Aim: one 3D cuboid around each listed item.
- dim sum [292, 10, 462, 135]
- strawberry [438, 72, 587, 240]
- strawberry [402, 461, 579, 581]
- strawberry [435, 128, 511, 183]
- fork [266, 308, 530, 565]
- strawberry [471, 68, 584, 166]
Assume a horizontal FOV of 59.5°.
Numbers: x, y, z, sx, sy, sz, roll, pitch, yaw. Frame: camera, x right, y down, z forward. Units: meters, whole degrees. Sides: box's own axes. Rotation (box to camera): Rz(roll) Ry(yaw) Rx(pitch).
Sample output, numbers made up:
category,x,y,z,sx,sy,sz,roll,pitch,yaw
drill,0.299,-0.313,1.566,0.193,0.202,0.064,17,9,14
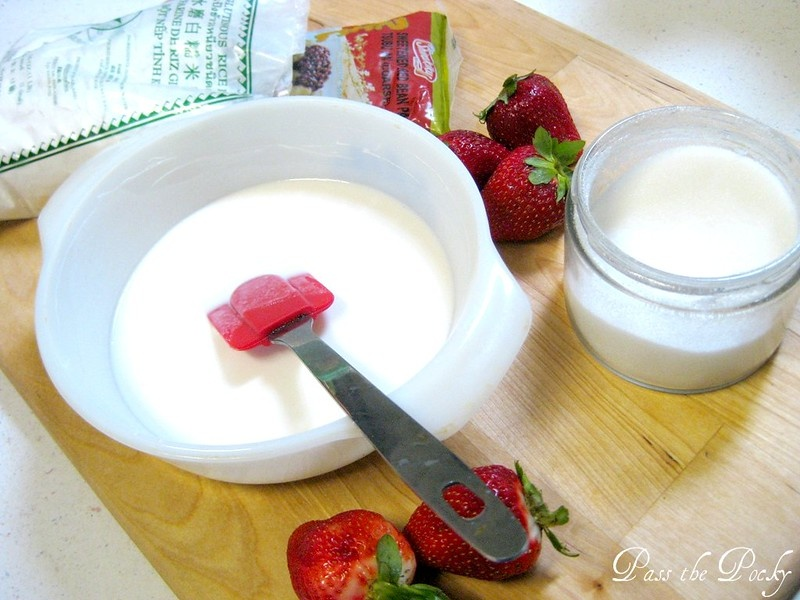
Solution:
category,x,y,z,sx,sy,sz,roll,pitch,yaw
dim sum,-0.023,-0.350,1.019,0.270,0.046,0.161,3,78,12
strawberry,0.176,-0.205,0.882,0.181,0.211,0.103,-14,6,43
strawberry,0.094,0.191,0.722,0.180,0.125,0.123,-19,78,16
strawberry,0.099,-0.191,0.894,0.083,0.062,0.061,21,20,7
fork,-0.024,0.098,0.656,0.086,0.009,0.422,-33,44,-13
strawberry,0.161,-0.237,0.942,0.124,0.108,0.112,39,66,1
